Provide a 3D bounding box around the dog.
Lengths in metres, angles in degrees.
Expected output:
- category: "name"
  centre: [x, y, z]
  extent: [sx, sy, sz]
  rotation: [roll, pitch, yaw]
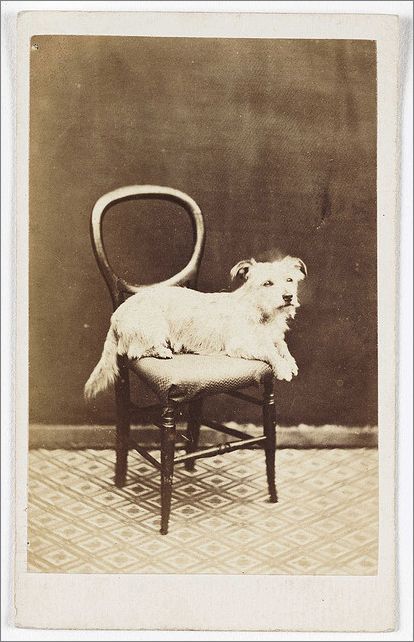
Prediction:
- category: "dog"
  centre: [-0.053, 0.010, 2.908]
  extent: [0.689, 0.485, 0.436]
  rotation: [3, 9, -2]
